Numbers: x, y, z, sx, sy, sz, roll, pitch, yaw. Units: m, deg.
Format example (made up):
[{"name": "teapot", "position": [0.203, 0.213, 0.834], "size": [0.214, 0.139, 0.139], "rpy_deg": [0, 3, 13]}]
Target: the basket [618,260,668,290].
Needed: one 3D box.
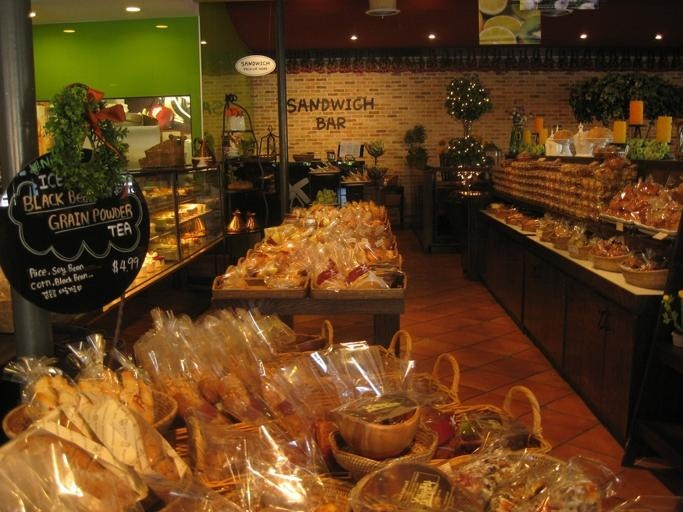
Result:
[{"name": "basket", "position": [1.888, 0.125, 3.306], "size": [0.277, 0.129, 0.146], "rpy_deg": [11, 16, 44]}]

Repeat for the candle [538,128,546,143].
[{"name": "candle", "position": [2.690, -1.613, 7.043], "size": [0.080, 0.201, 0.494], "rpy_deg": [3, 12, 14]}]

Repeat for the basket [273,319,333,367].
[{"name": "basket", "position": [-0.164, 0.386, 2.319], "size": [0.146, 0.185, 0.194], "rpy_deg": [-16, 8, -15]}]

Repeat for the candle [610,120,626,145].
[{"name": "candle", "position": [2.443, -1.088, 4.615], "size": [0.099, 0.193, 0.322], "rpy_deg": [5, 13, 24]}]

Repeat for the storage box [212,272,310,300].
[{"name": "storage box", "position": [-0.429, 0.170, 2.789], "size": [0.508, 0.097, 0.157], "rpy_deg": [-1, 12, -2]}]

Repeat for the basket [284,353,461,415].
[{"name": "basket", "position": [0.107, 0.366, 1.562], "size": [0.339, 0.120, 0.330], "rpy_deg": [-1, 10, -2]}]

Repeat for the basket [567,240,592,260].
[{"name": "basket", "position": [1.873, -0.044, 4.147], "size": [0.162, 0.118, 0.310], "rpy_deg": [5, 13, 23]}]

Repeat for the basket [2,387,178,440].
[{"name": "basket", "position": [-0.557, 0.353, 1.176], "size": [0.188, 0.052, 0.189], "rpy_deg": [0, 3, 5]}]
